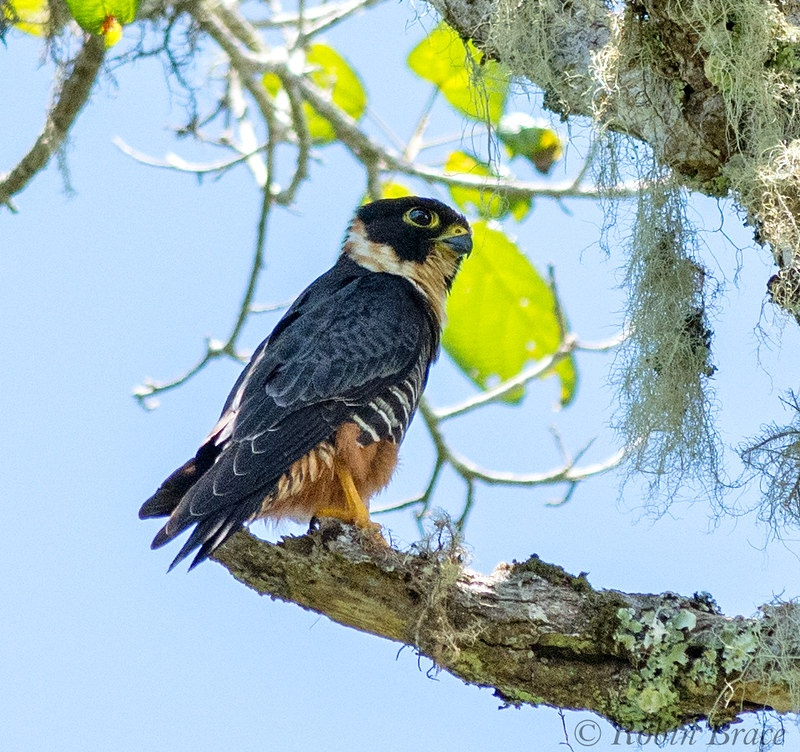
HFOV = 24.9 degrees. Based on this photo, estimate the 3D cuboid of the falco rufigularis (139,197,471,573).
[{"bbox_3d":[-0.307,0.105,7.184,0.963,2.171,0.557,12,-43,-1],"label":"falco rufigularis"}]
